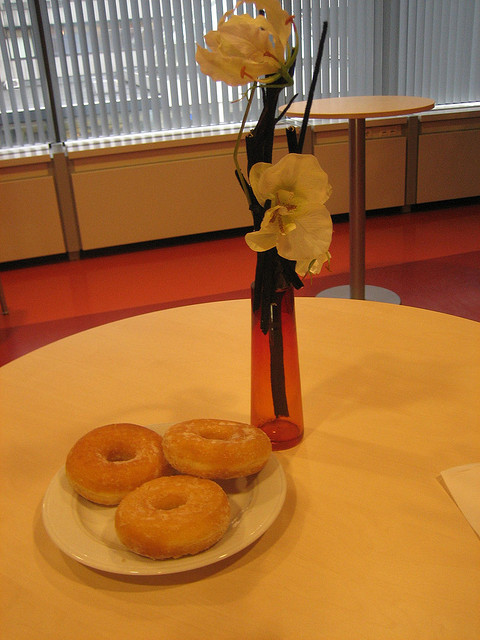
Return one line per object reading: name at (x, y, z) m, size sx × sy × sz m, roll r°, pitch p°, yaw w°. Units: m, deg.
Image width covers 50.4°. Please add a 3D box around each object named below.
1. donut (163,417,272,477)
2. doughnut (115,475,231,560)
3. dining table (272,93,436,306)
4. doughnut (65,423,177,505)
donut at (-0.022, 0.123, 0.506) m, size 0.100 × 0.032 × 0.088 m, roll 6°, pitch 24°, yaw 20°
doughnut at (-0.058, 0.168, 0.435) m, size 0.093 × 0.038 × 0.077 m, roll -10°, pitch 24°, yaw -18°
dining table at (0.600, -0.543, 2.614) m, size 0.863 × 0.984 × 0.835 m, roll 13°, pitch 27°, yaw 39°
doughnut at (-0.120, 0.141, 0.514) m, size 0.099 × 0.033 × 0.094 m, roll 7°, pitch 25°, yaw -1°
